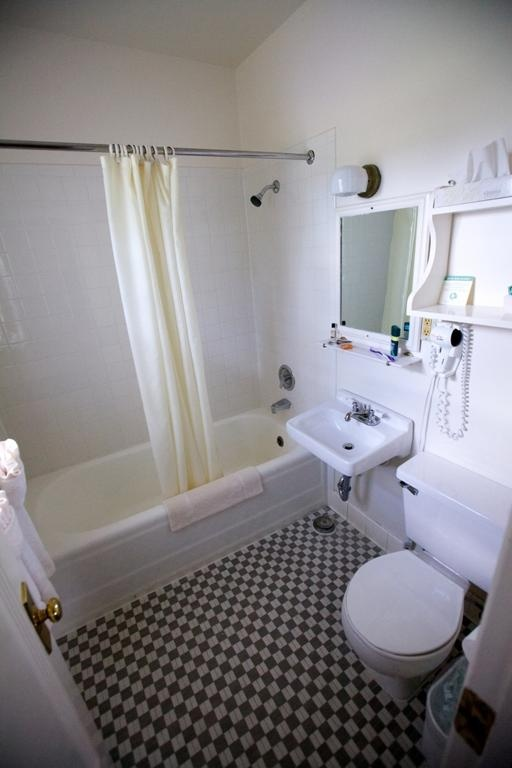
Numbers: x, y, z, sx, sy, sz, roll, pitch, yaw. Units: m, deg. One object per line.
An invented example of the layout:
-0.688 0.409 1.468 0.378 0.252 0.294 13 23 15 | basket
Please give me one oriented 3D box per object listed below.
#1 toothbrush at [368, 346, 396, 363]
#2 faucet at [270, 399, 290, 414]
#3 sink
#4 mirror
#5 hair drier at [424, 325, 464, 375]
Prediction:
0.500 -0.116 1.849 0.031 0.025 0.135 -28 37 -11 | toothbrush
0.147 0.142 2.822 0.121 0.080 0.068 -31 43 -27 | faucet
0.424 0.218 2.022 0.369 0.181 0.450 -25 34 -30 | sink
0.485 -0.437 1.849 0.039 0.586 0.535 -13 21 -21 | mirror
0.639 -0.121 1.563 0.078 0.178 0.086 -16 29 -25 | hair drier
